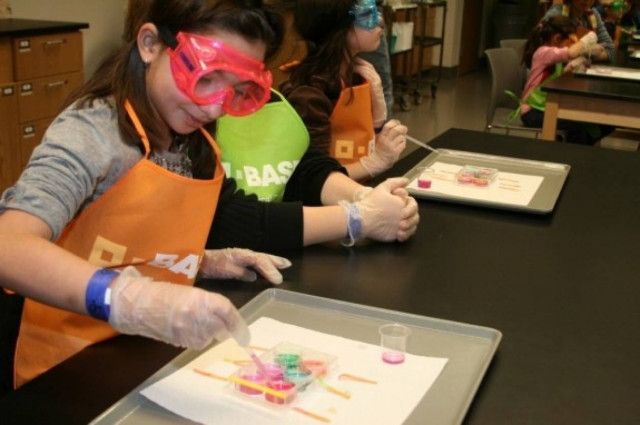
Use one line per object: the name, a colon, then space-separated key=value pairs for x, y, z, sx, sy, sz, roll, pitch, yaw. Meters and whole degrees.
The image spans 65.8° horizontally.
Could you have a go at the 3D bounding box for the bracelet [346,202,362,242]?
bracelet: x=0.097 y=0.027 z=1.561 sx=0.036 sy=0.094 sz=0.067 roll=0 pitch=-1 yaw=-4

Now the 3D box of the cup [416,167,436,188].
cup: x=0.416 y=-0.133 z=1.944 sx=0.059 sy=0.074 sz=0.055 roll=-1 pitch=30 yaw=1

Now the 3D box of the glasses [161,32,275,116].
glasses: x=-0.235 y=-0.334 z=1.172 sx=0.172 sy=0.091 sz=0.228 roll=21 pitch=17 yaw=-47

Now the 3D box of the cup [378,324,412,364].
cup: x=0.167 y=0.294 z=1.108 sx=0.067 sy=0.057 sz=0.067 roll=0 pitch=18 yaw=0

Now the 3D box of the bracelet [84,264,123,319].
bracelet: x=-0.462 y=0.172 z=1.061 sx=0.052 sy=0.092 sz=0.076 roll=1 pitch=28 yaw=8
